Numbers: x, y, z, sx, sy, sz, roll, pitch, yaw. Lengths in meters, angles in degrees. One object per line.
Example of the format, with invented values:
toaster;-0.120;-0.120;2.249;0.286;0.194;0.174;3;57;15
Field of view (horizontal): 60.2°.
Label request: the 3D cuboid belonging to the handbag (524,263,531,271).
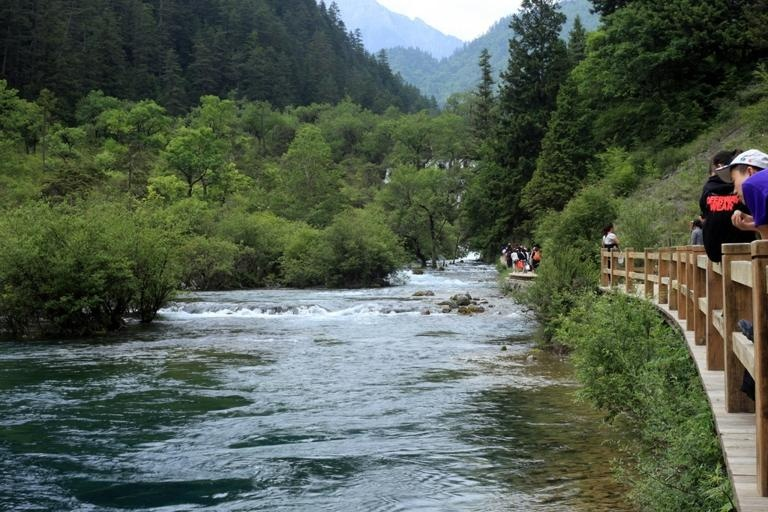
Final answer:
handbag;9.985;0.719;45.236;0.205;0.545;0.419;-12;-24;12
